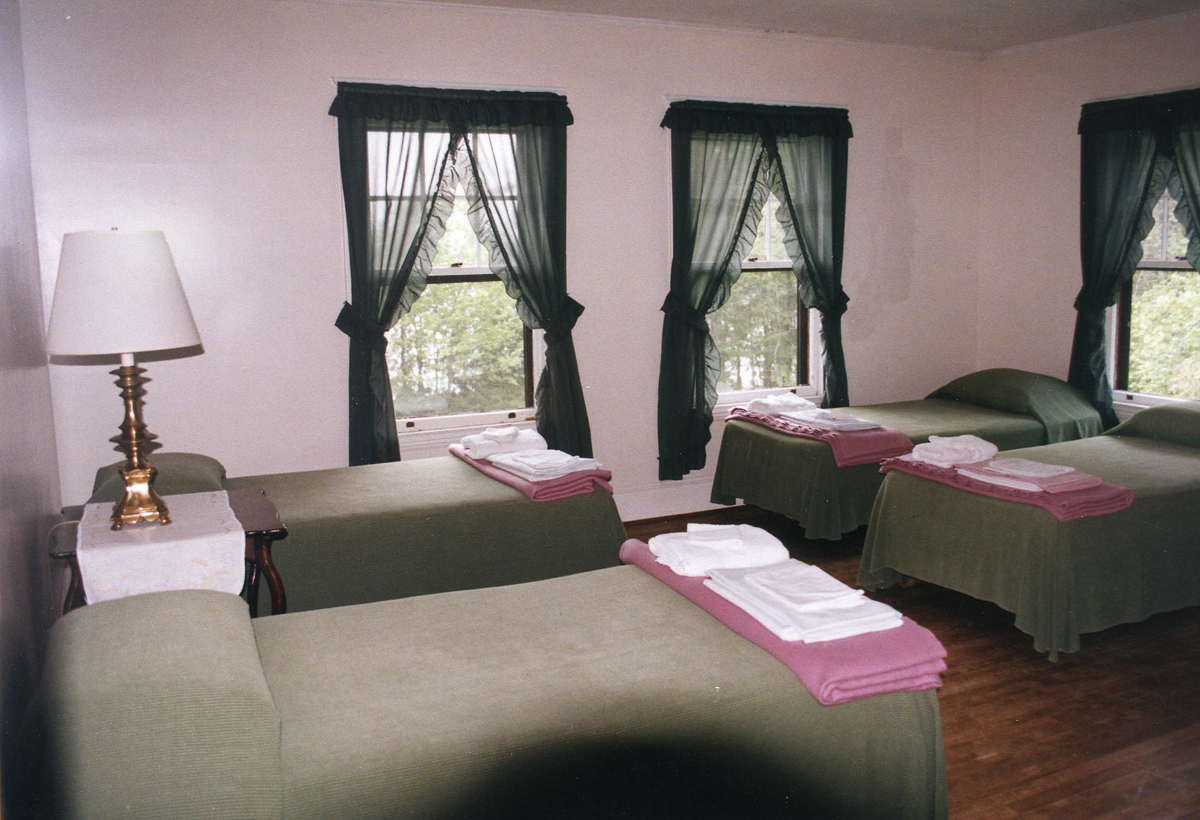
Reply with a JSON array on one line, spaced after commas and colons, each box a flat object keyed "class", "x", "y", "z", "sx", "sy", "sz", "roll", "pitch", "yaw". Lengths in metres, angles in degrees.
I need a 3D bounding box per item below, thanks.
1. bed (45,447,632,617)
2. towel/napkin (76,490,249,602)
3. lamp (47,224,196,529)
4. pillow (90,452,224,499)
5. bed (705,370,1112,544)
[{"class": "bed", "x": -0.942, "y": 0.544, "z": 4.215, "sx": 1.883, "sy": 0.528, "sz": 1.034, "roll": -6, "pitch": 16, "yaw": -22}, {"class": "towel/napkin", "x": -1.719, "y": 0.533, "z": 3.503, "sx": 0.480, "sy": 0.277, "sz": 0.481, "roll": -6, "pitch": 12, "yaw": -27}, {"class": "lamp", "x": -2.057, "y": -0.180, "z": 3.871, "sx": 0.526, "sy": 1.177, "sz": 1.070, "roll": -7, "pitch": 11, "yaw": -31}, {"class": "pillow", "x": -1.952, "y": 0.297, "z": 4.152, "sx": 0.358, "sy": 0.166, "sz": 0.351, "roll": -2, "pitch": 2, "yaw": -23}, {"class": "bed", "x": 1.999, "y": 0.154, "z": 5.698, "sx": 2.043, "sy": 0.734, "sz": 1.211, "roll": -10, "pitch": 15, "yaw": -25}]
